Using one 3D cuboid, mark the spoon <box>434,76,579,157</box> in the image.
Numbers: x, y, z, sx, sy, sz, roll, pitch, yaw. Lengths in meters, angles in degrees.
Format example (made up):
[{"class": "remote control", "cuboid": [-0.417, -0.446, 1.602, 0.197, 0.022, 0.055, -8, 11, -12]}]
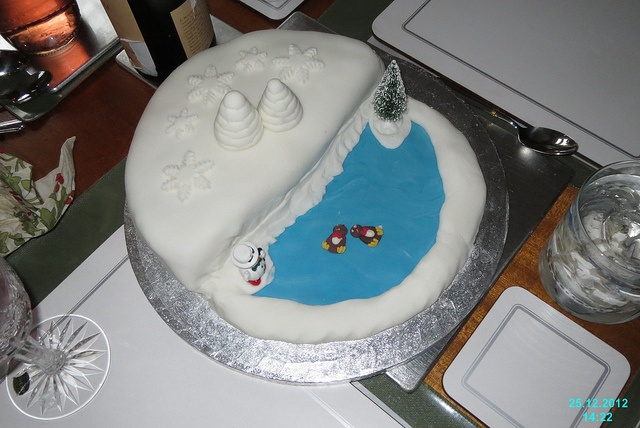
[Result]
[{"class": "spoon", "cuboid": [0.917, -0.430, 2.211, 0.522, 0.076, 0.121, 29, 91, 17]}]
